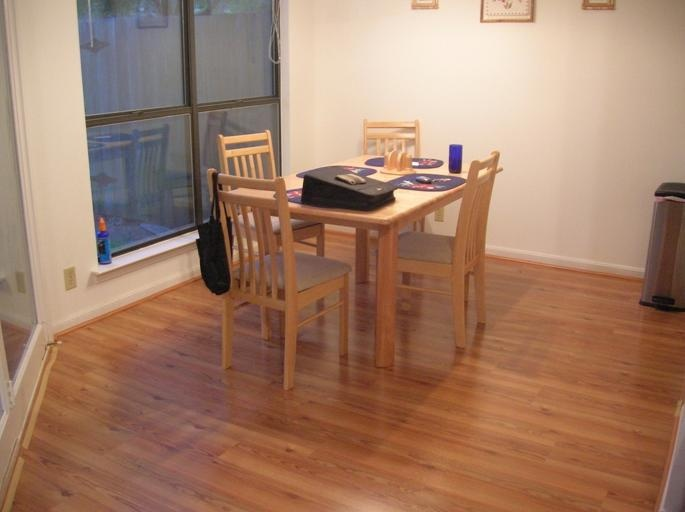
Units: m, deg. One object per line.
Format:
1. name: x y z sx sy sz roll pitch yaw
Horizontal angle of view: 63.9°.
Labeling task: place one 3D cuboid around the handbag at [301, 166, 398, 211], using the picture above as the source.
1. handbag: 0.021 -0.347 2.865 0.353 0.139 0.274 12 17 21

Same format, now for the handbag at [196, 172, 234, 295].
1. handbag: -0.629 -0.090 2.681 0.151 0.628 0.112 -18 28 -36
